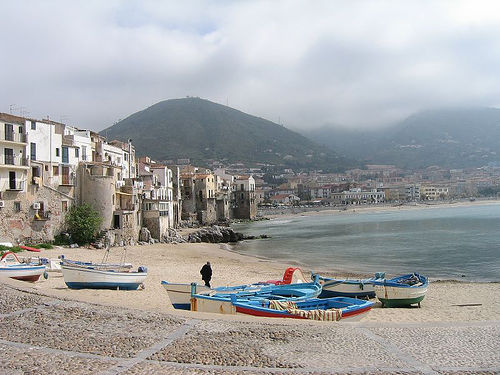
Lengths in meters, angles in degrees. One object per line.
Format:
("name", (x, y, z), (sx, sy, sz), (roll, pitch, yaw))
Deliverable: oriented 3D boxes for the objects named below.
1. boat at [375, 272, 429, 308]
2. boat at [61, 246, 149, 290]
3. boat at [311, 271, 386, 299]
("boat", (9.265, 6.408, 37.872), (3.266, 1.856, 1.974), (1, -5, -33))
("boat", (-8.695, 5.331, 37.276), (5.001, 1.663, 2.550), (9, -11, -25))
("boat", (6.154, 6.003, 38.265), (4.624, 1.218, 1.781), (4, -6, -15))
